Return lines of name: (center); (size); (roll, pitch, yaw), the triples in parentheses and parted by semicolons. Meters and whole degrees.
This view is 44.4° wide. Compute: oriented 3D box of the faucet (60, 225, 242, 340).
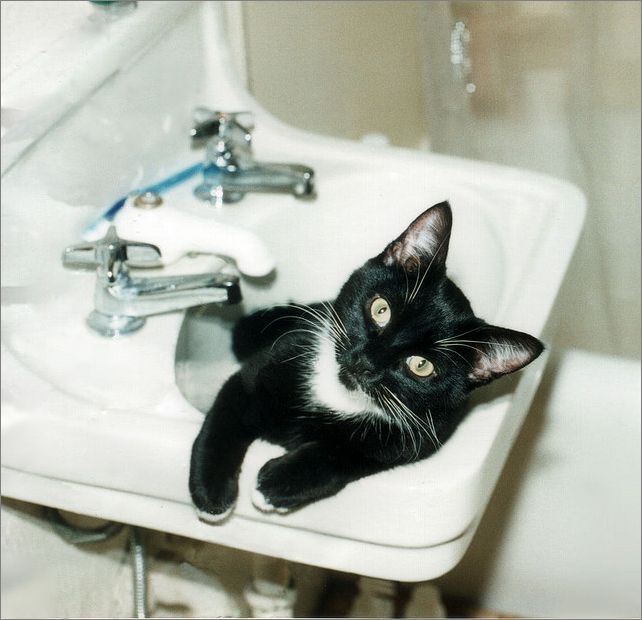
faucet: (-0.156, -0.028, 0.744); (0.149, 0.068, 0.092); (-4, 34, -6)

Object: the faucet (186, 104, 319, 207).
faucet: (-0.091, -0.175, 0.917); (0.197, 0.100, 0.083); (4, 33, 7)

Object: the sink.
sink: (-0.015, 0.039, 0.703); (0.494, 0.163, 0.426); (8, 39, 15)

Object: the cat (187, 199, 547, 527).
cat: (0.025, 0.038, 0.691); (0.216, 0.177, 0.346); (40, 34, 20)
